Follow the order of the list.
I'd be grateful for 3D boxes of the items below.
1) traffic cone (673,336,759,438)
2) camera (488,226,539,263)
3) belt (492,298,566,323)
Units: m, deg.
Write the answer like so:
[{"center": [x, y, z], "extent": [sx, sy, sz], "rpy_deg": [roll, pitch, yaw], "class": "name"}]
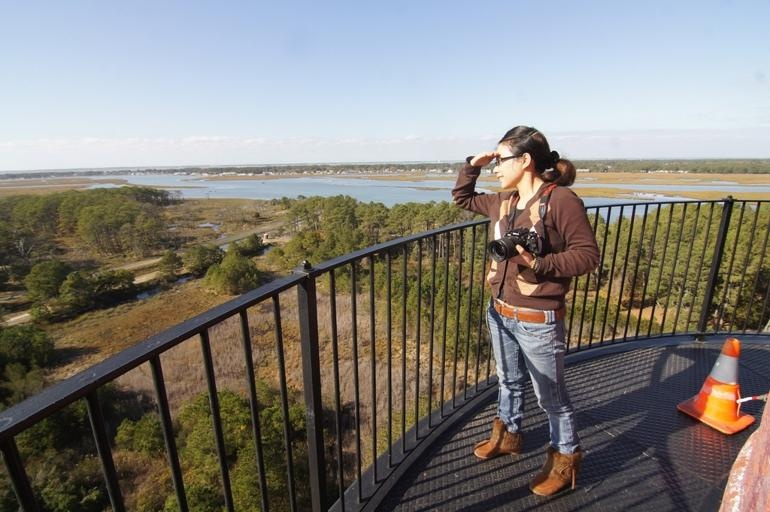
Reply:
[{"center": [3.649, 1.384, 4.741], "extent": [0.777, 0.927, 0.455], "rpy_deg": [-4, 14, -1], "class": "traffic cone"}, {"center": [1.095, -0.107, 3.721], "extent": [0.322, 0.178, 0.285], "rpy_deg": [-17, -7, -23], "class": "camera"}, {"center": [1.279, 0.494, 3.987], "extent": [0.630, 0.164, 0.199], "rpy_deg": [2, 14, 24], "class": "belt"}]
